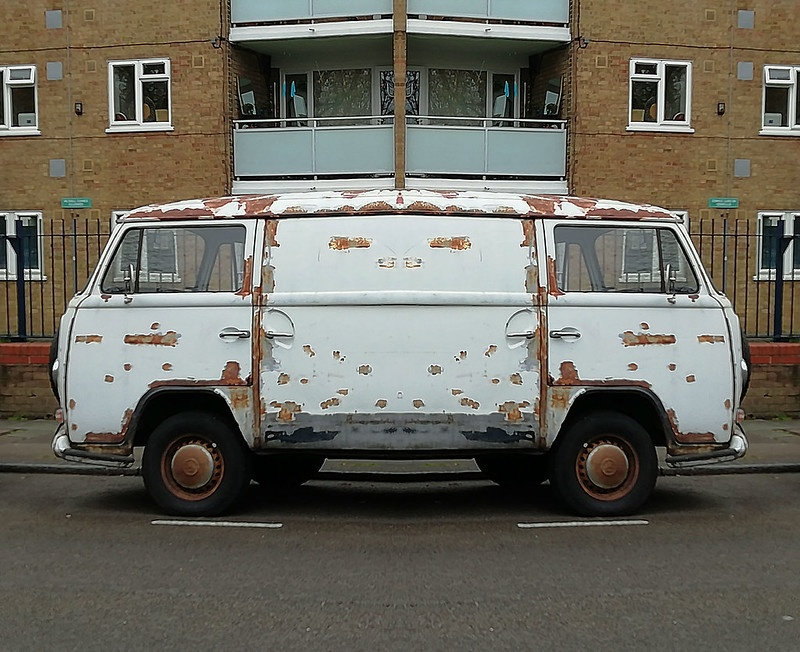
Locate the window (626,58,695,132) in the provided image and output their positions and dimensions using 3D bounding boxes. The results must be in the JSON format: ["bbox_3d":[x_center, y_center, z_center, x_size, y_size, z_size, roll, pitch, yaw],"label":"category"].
[{"bbox_3d":[5.803,-5.265,24.030,1.757,1.640,0.122,-1,7,-5],"label":"window"}]

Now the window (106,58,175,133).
[{"bbox_3d":[-5.868,-5.268,24.105,1.768,1.652,0.128,1,11,10],"label":"window"}]

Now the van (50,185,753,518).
[{"bbox_3d":[0.049,0.212,11.276,7.040,2.993,2.535,0,2,3],"label":"van"}]

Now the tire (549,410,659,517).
[{"bbox_3d":[1.920,1.314,10.210,1.090,1.047,0.380,2,0,-3],"label":"tire"}]

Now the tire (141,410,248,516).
[{"bbox_3d":[-1.963,1.311,10.244,1.083,1.011,0.402,3,1,6],"label":"tire"}]
